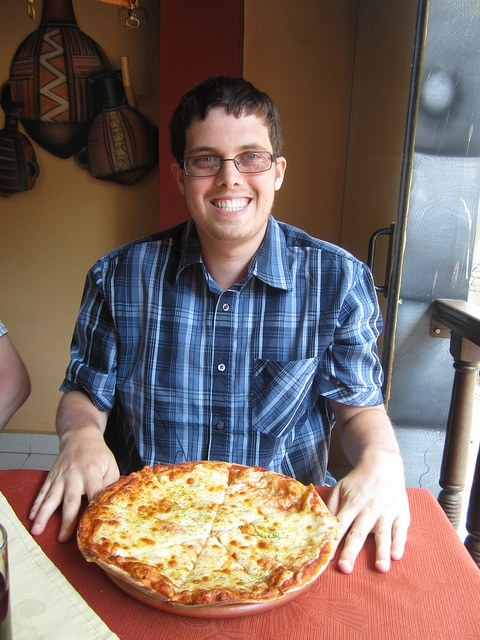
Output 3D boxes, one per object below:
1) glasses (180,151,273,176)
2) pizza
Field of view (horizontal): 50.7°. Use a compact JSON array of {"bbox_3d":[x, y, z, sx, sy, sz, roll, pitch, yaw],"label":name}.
[{"bbox_3d":[-0.026,-0.366,1.188,0.211,0.064,0.061,2,10,1],"label":"glasses"},{"bbox_3d":[-0.041,0.293,0.712,0.327,0.065,0.352,3,10,-13],"label":"pizza"}]
